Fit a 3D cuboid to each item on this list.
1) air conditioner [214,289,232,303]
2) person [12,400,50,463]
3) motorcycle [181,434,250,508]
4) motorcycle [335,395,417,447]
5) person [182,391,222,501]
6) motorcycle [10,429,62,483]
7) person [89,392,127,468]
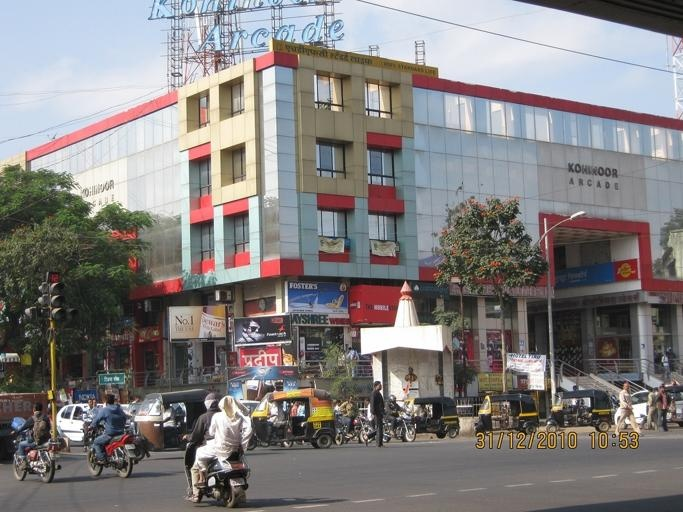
[{"bbox_3d":[-6.843,2.321,65.595,0.630,0.827,1.152,-2,-4,2],"label":"air conditioner"},{"bbox_3d":[-9.336,5.304,34.563,0.684,1.876,0.826,-6,-7,43],"label":"person"},{"bbox_3d":[-3.190,5.825,29.629,0.940,1.427,2.093,8,-12,-29],"label":"motorcycle"},{"bbox_3d":[1.122,6.571,45.118,3.126,1.864,1.573,-3,-9,8],"label":"motorcycle"},{"bbox_3d":[-3.689,4.898,29.961,0.974,2.598,1.006,0,-6,-13],"label":"person"},{"bbox_3d":[-9.175,6.026,34.344,0.993,1.631,2.279,6,-14,-34],"label":"motorcycle"},{"bbox_3d":[-7.078,5.258,34.716,0.811,2.244,0.676,-8,-4,37],"label":"person"}]
